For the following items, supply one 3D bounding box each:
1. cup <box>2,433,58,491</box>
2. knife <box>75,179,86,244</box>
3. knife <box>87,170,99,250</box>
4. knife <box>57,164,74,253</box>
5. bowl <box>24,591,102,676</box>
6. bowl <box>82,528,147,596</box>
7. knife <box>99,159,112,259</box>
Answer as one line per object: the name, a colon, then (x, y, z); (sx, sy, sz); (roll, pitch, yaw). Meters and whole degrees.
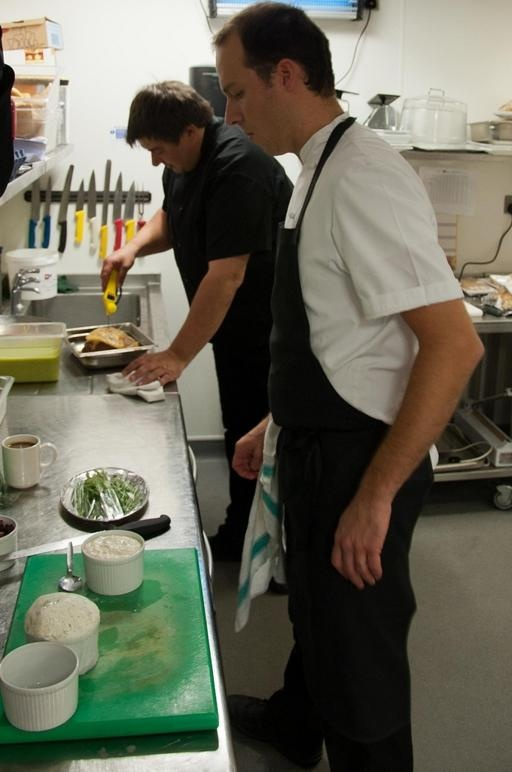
cup: (-0.454, 0.144, 1.219); (0.130, 0.113, 0.083); (-2, 13, -27)
knife: (-0.948, -0.924, 3.172); (0.066, 0.341, 0.069); (-7, 15, -26)
knife: (-0.883, -0.924, 3.186); (0.057, 0.431, 0.060); (-5, 15, -18)
knife: (-1.016, -0.932, 3.144); (0.115, 0.457, 0.085); (-3, 14, -12)
bowl: (-0.222, 0.273, 0.692); (0.074, 0.066, 0.075); (2, 11, 0)
bowl: (-0.208, 0.243, 0.851); (0.076, 0.051, 0.080); (1, 6, 0)
knife: (-0.816, -0.934, 3.184); (0.075, 0.591, 0.043); (3, 20, -6)
